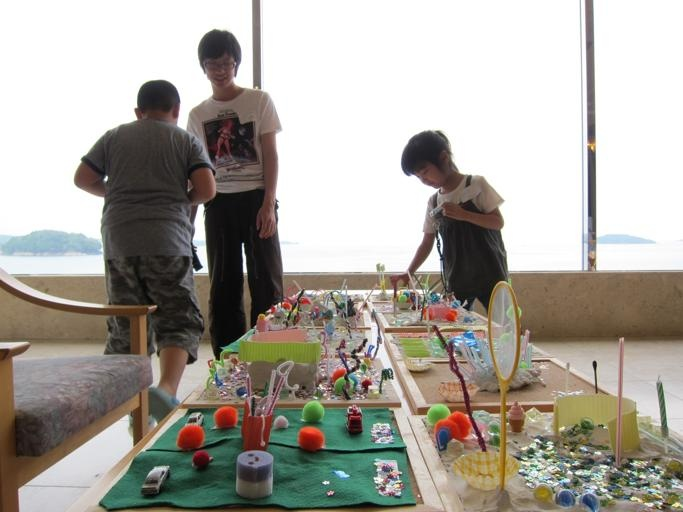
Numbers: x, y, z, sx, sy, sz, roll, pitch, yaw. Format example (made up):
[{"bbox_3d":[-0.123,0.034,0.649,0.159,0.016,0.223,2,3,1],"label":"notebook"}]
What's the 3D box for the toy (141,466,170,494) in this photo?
[{"bbox_3d":[-0.427,0.510,1.221,0.037,0.052,0.074,-2,1,10],"label":"toy"}]
